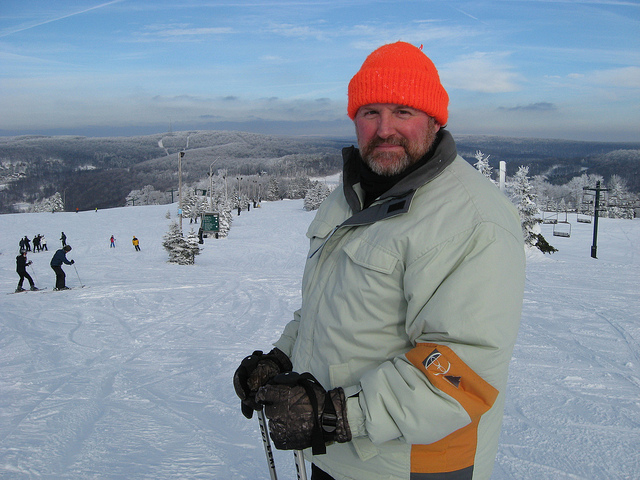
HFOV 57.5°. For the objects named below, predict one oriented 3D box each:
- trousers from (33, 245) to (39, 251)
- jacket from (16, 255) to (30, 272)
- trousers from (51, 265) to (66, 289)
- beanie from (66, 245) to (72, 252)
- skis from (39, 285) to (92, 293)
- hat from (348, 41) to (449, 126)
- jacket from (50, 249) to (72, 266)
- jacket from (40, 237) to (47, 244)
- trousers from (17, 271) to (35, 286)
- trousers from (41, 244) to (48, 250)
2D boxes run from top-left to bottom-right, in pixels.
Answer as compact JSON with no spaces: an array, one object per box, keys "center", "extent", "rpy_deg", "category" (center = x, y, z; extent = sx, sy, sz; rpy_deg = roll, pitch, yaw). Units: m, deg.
[{"center":[-17.964,0.548,37.007],"extent":[0.425,0.154,0.413],"rpy_deg":[-6,-26,-13],"category":"trousers"},{"center":[-9.080,0.731,17.758],"extent":[0.468,0.561,0.474],"rpy_deg":[8,7,40],"category":"jacket"},{"center":[-7.828,1.089,17.377],"extent":[0.328,0.674,0.637],"rpy_deg":[-4,10,-25],"category":"trousers"},{"center":[-8.595,0.299,19.869],"extent":[0.251,0.152,0.140],"rpy_deg":[51,1,41],"category":"beanie"},{"center":[-7.600,1.479,17.514],"extent":[2.082,0.155,0.234],"rpy_deg":[-2,31,36],"category":"skis"},{"center":[0.634,-1.348,5.189],"extent":[0.845,0.719,0.824],"rpy_deg":[-3,11,-32],"category":"hat"},{"center":[-7.961,0.575,17.717],"extent":[0.669,0.467,0.685],"rpy_deg":[7,11,39],"category":"jacket"},{"center":[-18.233,0.085,38.258],"extent":[0.578,0.187,0.431],"rpy_deg":[8,-20,-11],"category":"jacket"},{"center":[-9.003,1.188,17.793],"extent":[0.352,0.534,0.725],"rpy_deg":[-4,9,-25],"category":"trousers"},{"center":[-17.972,0.479,37.874],"extent":[0.411,0.202,0.586],"rpy_deg":[11,-15,2],"category":"trousers"}]
